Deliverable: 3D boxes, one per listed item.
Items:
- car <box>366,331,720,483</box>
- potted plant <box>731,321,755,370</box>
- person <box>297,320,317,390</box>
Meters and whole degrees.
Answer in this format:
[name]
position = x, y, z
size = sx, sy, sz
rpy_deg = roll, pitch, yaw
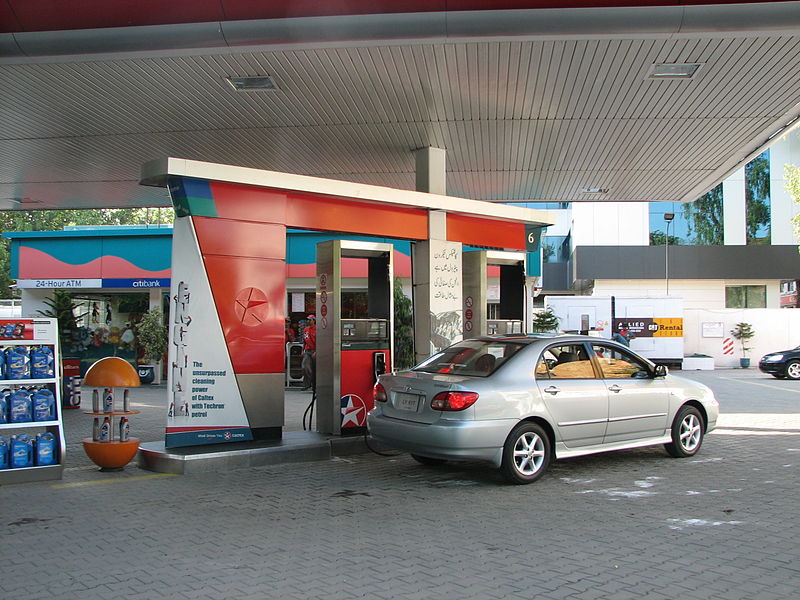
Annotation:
[car]
position = 2.264, 1.446, 8.254
size = 5.131, 1.871, 1.646
rpy_deg = 2, -5, -30
[potted plant]
position = 17.993, 2.347, 29.538
size = 1.053, 2.358, 0.535
rpy_deg = 0, -4, -6
[person]
position = -2.852, 1.688, 17.922
size = 0.314, 2.316, 0.939
rpy_deg = 1, -4, -16
